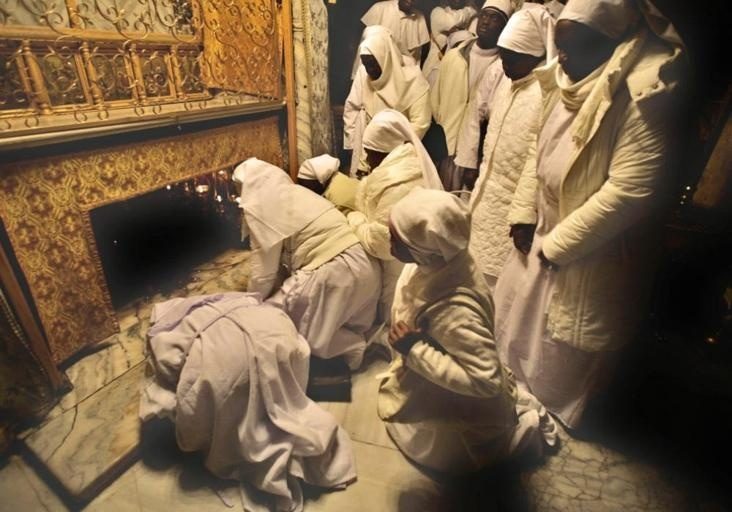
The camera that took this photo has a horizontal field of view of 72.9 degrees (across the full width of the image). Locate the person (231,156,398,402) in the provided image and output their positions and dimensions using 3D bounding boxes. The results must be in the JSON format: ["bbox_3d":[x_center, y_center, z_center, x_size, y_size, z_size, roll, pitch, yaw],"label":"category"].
[{"bbox_3d":[-0.420,0.056,3.301,1.009,1.423,0.892,-2,5,11],"label":"person"}]
